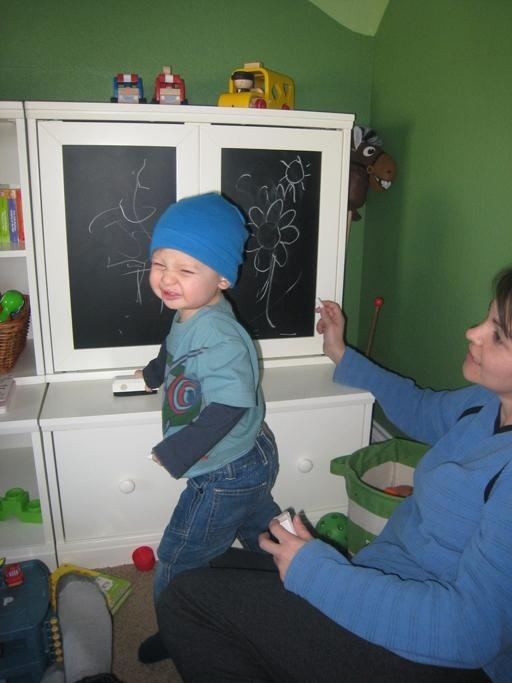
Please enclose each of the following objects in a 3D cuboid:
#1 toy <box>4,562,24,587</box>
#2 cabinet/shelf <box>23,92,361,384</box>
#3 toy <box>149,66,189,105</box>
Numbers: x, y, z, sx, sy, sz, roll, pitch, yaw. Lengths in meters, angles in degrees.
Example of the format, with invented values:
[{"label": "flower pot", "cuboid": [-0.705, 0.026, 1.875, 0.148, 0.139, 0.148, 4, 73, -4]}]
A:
[{"label": "toy", "cuboid": [-0.570, 0.545, 1.306, 0.032, 0.019, 0.044, 2, 36, -22]}, {"label": "cabinet/shelf", "cuboid": [-0.191, -0.278, 1.625, 0.828, 0.714, 0.260, -4, 25, -15]}, {"label": "toy", "cuboid": [-0.265, -0.743, 1.624, 0.110, 0.077, 0.188, 0, 54, -6]}]
